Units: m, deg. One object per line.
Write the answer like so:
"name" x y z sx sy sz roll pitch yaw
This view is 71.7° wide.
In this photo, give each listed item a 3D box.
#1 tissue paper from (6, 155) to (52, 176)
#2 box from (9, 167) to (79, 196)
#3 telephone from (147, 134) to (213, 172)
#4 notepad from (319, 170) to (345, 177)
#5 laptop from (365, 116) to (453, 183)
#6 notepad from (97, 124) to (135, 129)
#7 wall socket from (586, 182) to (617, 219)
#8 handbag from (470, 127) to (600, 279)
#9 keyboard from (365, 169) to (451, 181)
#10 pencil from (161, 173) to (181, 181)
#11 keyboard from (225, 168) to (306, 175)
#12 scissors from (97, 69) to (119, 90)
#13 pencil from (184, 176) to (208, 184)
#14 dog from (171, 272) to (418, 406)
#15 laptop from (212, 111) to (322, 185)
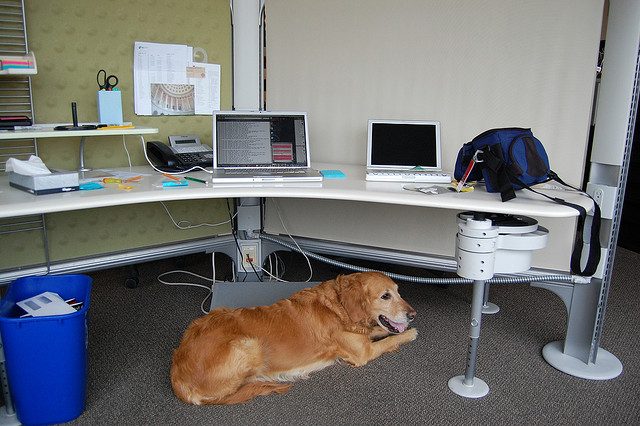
"tissue paper" -1.534 -0.243 2.319 0.148 0.070 0.191 8 15 7
"box" -1.472 -0.155 2.304 0.366 0.098 0.141 3 15 9
"telephone" -0.957 -0.376 2.920 0.322 0.126 0.345 25 8 24
"notepad" 0.076 -0.253 2.801 0.147 0.019 0.152 -1 15 -4
"laptop" 0.530 -0.393 2.725 0.494 0.356 0.428 1 11 1
"notepad" -1.222 -0.512 2.650 0.202 0.019 0.082 -14 20 -42
"wall socket" 1.533 -0.063 2.404 0.117 0.207 0.157 -11 16 -38
"handbag" 1.200 -0.115 2.661 0.820 0.829 0.716 5 11 25
"keyboard" 0.534 -0.223 2.679 0.323 0.036 0.187 1 16 1
"pencil" -0.899 -0.217 2.663 0.106 0.014 0.015 26 30 20
"keyboard" -0.328 -0.244 2.635 0.467 0.019 0.159 -3 15 -10
"scissors" -1.333 -0.836 2.768 0.126 0.124 0.209 -6 16 -23
"pencil" -0.733 -0.193 2.587 0.164 0.018 0.018 15 9 36
"dog" -0.131 0.661 2.573 1.349 0.522 0.594 -14 22 -10
"laptop" -0.331 -0.408 2.575 0.613 0.368 0.536 -3 13 -14
